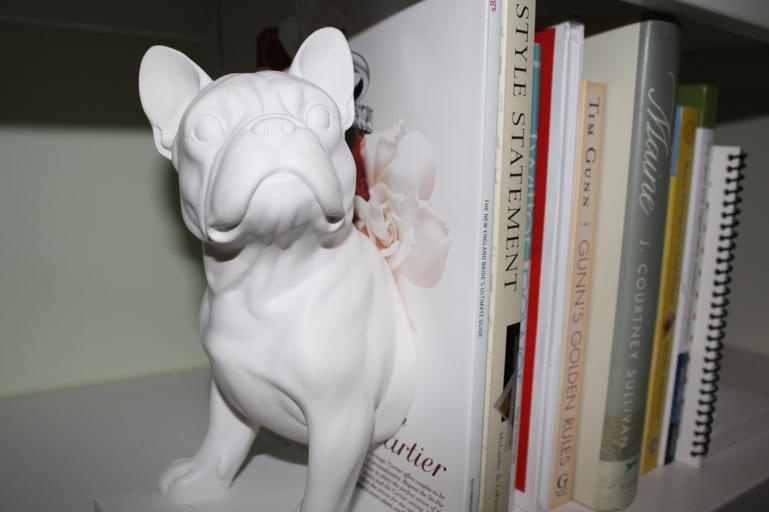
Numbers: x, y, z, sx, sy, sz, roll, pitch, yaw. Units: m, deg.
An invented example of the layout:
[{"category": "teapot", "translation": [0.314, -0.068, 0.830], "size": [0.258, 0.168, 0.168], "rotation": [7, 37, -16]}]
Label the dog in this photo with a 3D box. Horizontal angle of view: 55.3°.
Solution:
[{"category": "dog", "translation": [-0.140, 0.036, 1.081], "size": [0.358, 0.684, 0.240], "rotation": [-8, 18, -9]}]
